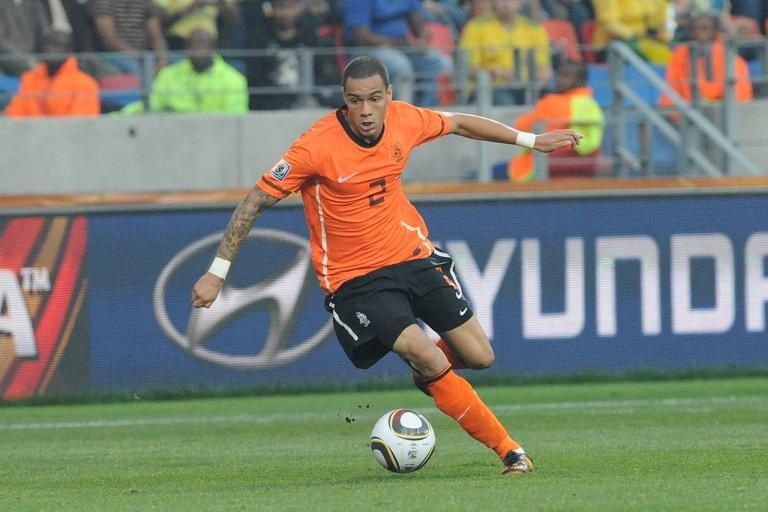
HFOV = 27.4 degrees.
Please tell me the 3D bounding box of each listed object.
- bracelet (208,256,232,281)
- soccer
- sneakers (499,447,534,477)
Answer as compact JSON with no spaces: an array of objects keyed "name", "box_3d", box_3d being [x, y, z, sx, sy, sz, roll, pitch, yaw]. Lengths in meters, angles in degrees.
[{"name":"bracelet","box_3d":[-1.219,0.090,11.620,0.167,0.151,0.087,31,-17,-2]},{"name":"soccer","box_3d":[0.139,1.381,11.563,0.540,0.432,0.475,2,6,-7]},{"name":"sneakers","box_3d":[0.949,1.473,11.318,0.234,0.182,0.158,-2,-13,3]}]
